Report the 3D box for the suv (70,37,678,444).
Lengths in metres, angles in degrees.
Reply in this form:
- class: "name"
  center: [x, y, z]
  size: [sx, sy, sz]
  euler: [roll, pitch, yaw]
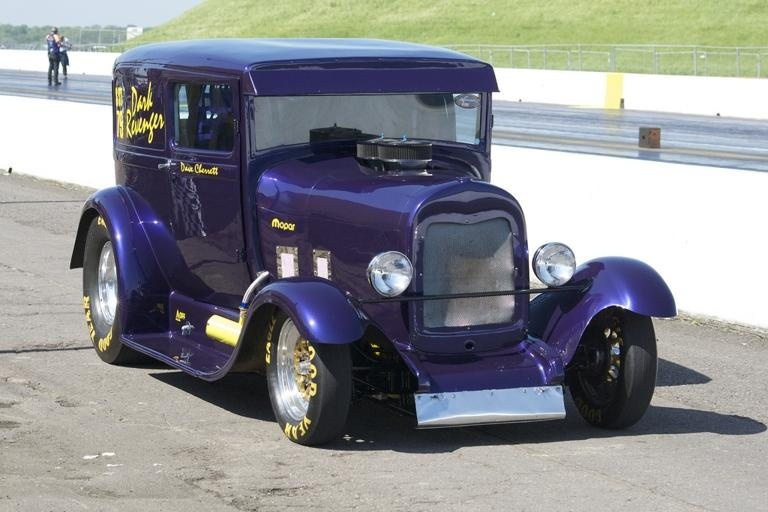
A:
- class: "suv"
  center: [-0.835, -0.450, 8.987]
  size: [3.018, 2.638, 5.134]
  euler: [-1, 5, -33]
